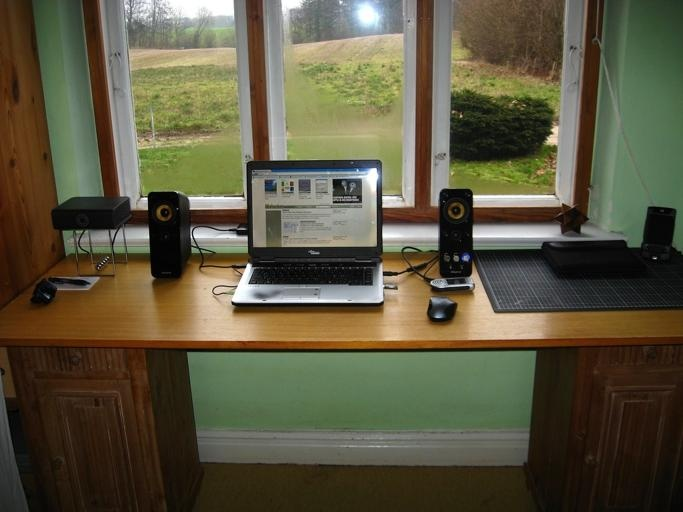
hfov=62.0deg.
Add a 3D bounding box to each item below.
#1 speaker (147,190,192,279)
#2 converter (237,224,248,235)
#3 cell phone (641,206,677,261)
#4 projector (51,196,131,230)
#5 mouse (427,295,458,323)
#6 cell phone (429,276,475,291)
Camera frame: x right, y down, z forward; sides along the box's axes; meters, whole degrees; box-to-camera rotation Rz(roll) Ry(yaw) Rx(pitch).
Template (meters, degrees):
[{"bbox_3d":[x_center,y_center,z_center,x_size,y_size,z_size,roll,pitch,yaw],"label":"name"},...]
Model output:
[{"bbox_3d":[-0.687,-0.089,2.355,0.148,0.374,0.156,3,21,-2],"label":"speaker"},{"bbox_3d":[-0.443,-0.119,2.569,0.040,0.018,0.077,-2,13,-9],"label":"converter"},{"bbox_3d":[1.297,-0.084,2.347,0.120,0.235,0.052,10,14,26],"label":"cell phone"},{"bbox_3d":[-1.010,-0.159,2.346,0.245,0.145,0.209,-1,18,7],"label":"projector"},{"bbox_3d":[0.363,0.186,2.034,0.111,0.067,0.093,-2,18,3],"label":"mouse"},{"bbox_3d":[0.431,0.105,2.224,0.114,0.025,0.068,-2,20,2],"label":"cell phone"}]
